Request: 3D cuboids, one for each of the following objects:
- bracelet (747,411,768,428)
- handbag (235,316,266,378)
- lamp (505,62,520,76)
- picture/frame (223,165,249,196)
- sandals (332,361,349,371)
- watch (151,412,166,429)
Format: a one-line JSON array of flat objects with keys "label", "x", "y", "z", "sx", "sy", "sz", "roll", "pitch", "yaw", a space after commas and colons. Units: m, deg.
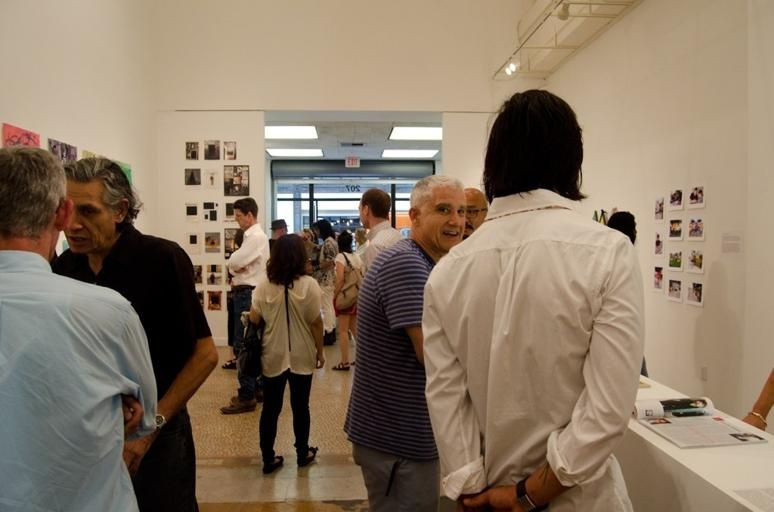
[{"label": "bracelet", "x": 2.386, "y": 1.058, "z": 3.571, "sx": 0.088, "sy": 0.090, "sz": 0.121, "roll": -2, "pitch": 48, "yaw": 4}, {"label": "handbag", "x": -1.117, "y": 0.781, "z": 4.591, "sx": 0.231, "sy": 0.497, "sz": 0.235, "roll": 3, "pitch": 6, "yaw": 16}, {"label": "lamp", "x": 1.625, "y": -2.477, "z": 7.254, "sx": 0.205, "sy": 0.128, "sz": 0.286, "roll": 0, "pitch": -7, "yaw": 2}, {"label": "picture/frame", "x": -2.203, "y": -1.117, "z": 8.118, "sx": 0.405, "sy": 0.509, "sz": 0.033, "roll": 0, "pitch": 0, "yaw": -5}, {"label": "sandals", "x": -0.572, "y": 1.413, "z": 7.142, "sx": 0.243, "sy": 0.113, "sz": 0.092, "roll": 3, "pitch": -2, "yaw": 6}, {"label": "watch", "x": -1.104, "y": 0.813, "z": 2.686, "sx": 0.079, "sy": 0.034, "sz": 0.090, "roll": 1, "pitch": 43, "yaw": -12}]
